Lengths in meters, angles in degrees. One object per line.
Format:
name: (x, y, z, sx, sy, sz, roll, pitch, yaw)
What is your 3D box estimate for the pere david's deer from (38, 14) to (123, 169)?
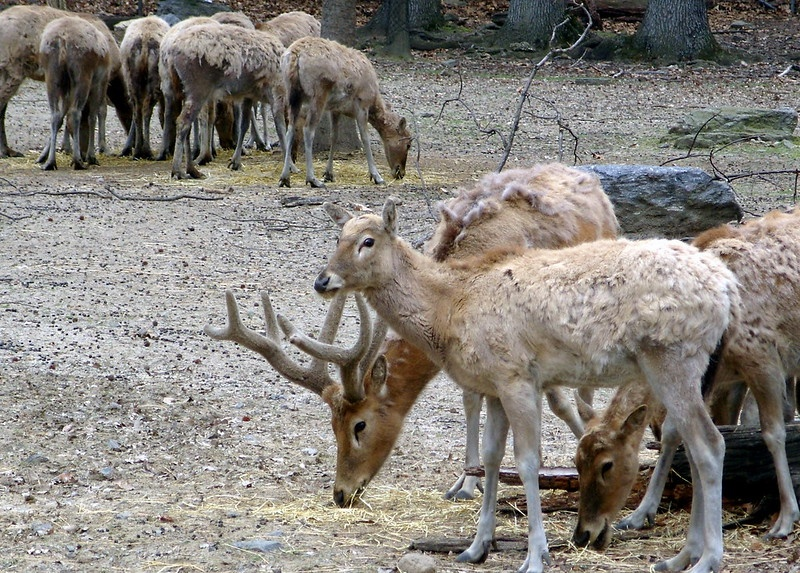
pere david's deer: (-5.575, -3.355, 23.549, 0.953, 2.514, 1.963, 5, 11, 5)
